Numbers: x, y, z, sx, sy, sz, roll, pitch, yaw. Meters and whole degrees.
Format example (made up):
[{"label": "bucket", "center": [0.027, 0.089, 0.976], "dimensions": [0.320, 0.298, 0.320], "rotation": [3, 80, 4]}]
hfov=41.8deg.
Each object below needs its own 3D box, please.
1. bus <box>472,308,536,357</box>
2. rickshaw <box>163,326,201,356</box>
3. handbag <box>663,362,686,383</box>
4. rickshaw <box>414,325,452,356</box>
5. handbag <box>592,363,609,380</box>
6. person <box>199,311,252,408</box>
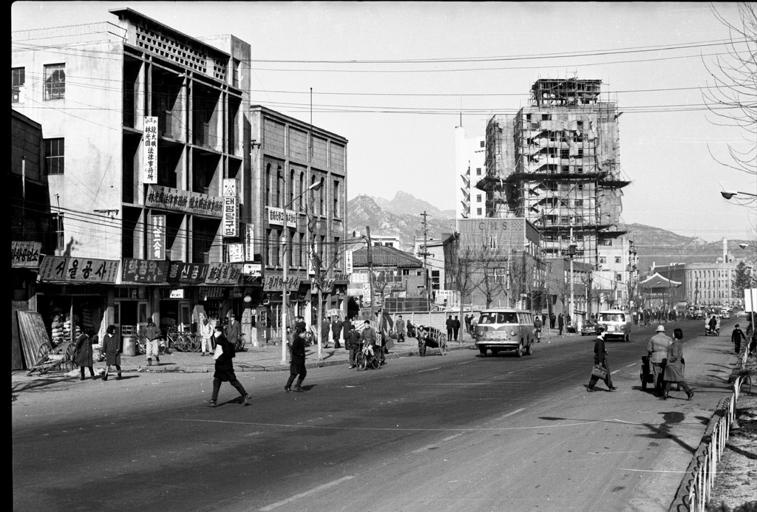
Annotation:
[{"label": "bus", "center": [6.692, 4.125, 52.631], "dimensions": [2.109, 2.454, 3.779], "rotation": [-4, -7, 27]}, {"label": "rickshaw", "center": [-10.781, 4.655, 54.413], "dimensions": [2.248, 1.328, 1.038], "rotation": [1, -2, 8]}, {"label": "handbag", "center": [9.779, 3.863, 32.704], "dimensions": [0.933, 0.660, 0.517], "rotation": [3, -7, -34]}, {"label": "rickshaw", "center": [3.004, 4.887, 56.610], "dimensions": [1.205, 1.157, 2.000], "rotation": [1, -2, 21]}, {"label": "handbag", "center": [7.625, 4.023, 34.189], "dimensions": [0.531, 0.266, 0.526], "rotation": [15, -42, -5]}, {"label": "person", "center": [-4.829, 3.374, 31.912], "dimensions": [1.324, 2.912, 1.115], "rotation": [0, -1, 17]}]
